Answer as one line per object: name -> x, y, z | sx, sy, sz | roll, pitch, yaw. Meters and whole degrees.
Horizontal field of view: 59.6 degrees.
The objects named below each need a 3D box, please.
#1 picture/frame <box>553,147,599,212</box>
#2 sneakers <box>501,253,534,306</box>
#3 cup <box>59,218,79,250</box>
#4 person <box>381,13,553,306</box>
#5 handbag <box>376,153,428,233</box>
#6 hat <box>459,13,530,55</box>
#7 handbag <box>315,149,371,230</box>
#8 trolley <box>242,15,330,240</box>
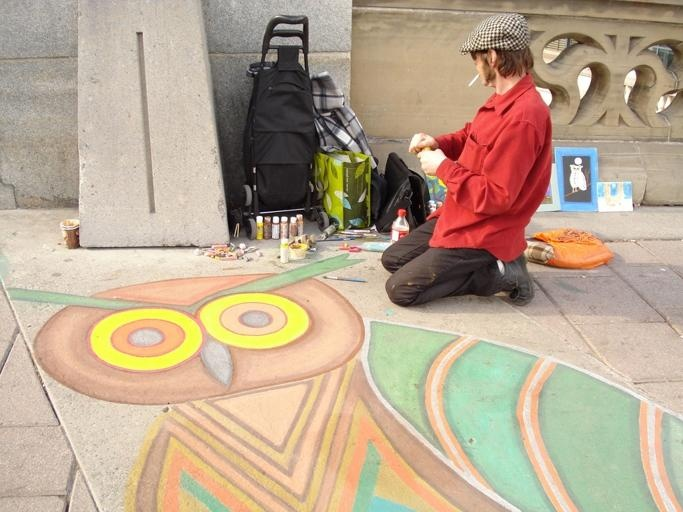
picture/frame -> 2.336, -0.770, 5.975 | 0.428, 0.620, 0.271 | 0, 11, 3
sneakers -> 1.235, 0.180, 4.169 | 0.186, 0.391, 0.209 | -12, 10, 39
cup -> -2.113, -0.172, 4.700 | 0.125, 0.223, 0.172 | -5, 12, -24
person -> 0.876, -0.560, 3.915 | 0.910, 1.881, 0.538 | 3, 12, 16
handbag -> 0.512, -0.518, 5.142 | 0.435, 0.503, 0.705 | -7, 43, -9
hat -> 0.904, -1.371, 3.662 | 0.475, 0.185, 0.298 | -3, 29, 2
handbag -> 0.024, -0.586, 5.247 | 0.276, 0.551, 0.622 | -12, 27, -20
trolley -> -0.492, -1.082, 5.060 | 0.778, 1.854, 0.591 | -5, 12, -21
